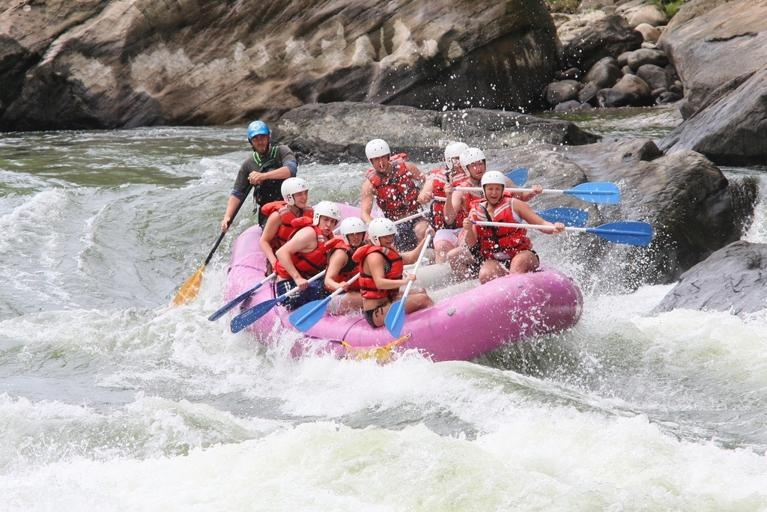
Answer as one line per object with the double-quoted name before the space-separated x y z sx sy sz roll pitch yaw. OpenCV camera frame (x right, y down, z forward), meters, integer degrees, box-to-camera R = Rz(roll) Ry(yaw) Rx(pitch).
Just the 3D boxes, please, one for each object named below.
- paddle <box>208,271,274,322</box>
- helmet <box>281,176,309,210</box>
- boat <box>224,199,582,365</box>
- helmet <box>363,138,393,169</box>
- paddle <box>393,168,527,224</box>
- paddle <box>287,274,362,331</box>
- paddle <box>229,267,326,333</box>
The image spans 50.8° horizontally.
"paddle" -1.873 0.547 10.786 1.045 0.139 0.145 -33 -7 -1
"helmet" -1.177 -0.869 10.701 0.399 0.320 0.308 0 9 23
"boat" 0.068 0.571 10.092 1.848 0.723 3.071 -26 30 -37
"helmet" -0.079 -1.451 11.585 0.368 0.444 0.468 -20 10 -2
"paddle" 1.037 -0.801 10.862 1.778 0.311 0.398 -15 60 -16
"paddle" -0.590 0.468 9.823 1.237 0.055 0.301 -37 32 3
"paddle" -1.340 0.734 10.918 0.117 0.214 1.872 21 23 30
